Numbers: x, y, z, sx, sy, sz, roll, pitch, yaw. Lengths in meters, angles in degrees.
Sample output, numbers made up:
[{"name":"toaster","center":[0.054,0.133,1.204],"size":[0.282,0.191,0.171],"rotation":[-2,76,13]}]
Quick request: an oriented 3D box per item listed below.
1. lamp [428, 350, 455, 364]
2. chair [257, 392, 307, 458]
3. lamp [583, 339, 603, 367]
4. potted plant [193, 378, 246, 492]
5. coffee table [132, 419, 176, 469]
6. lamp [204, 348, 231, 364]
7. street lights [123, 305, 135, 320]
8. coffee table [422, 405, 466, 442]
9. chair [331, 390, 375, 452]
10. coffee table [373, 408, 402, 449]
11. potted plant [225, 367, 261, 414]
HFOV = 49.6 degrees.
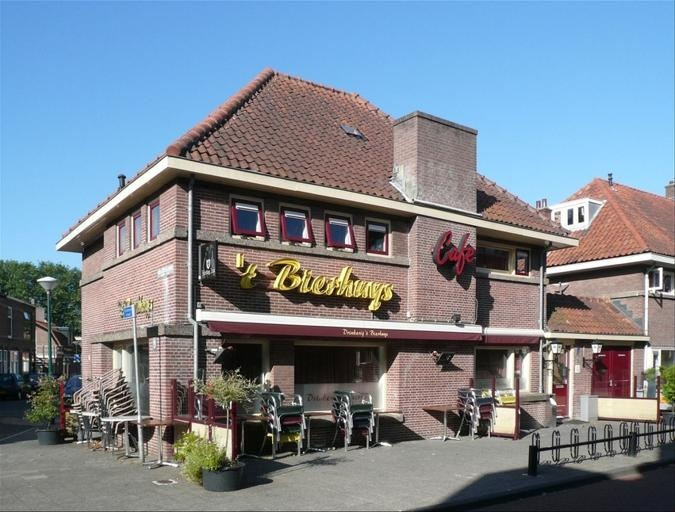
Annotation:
[{"name":"lamp","center":[3.537,3.398,24.227],"size":[1.030,0.482,0.324],"rotation":[12,-17,-40]},{"name":"chair","center":[-1.566,4.676,20.582],"size":[1.798,2.053,1.667],"rotation":[1,-3,-11]},{"name":"lamp","center":[10.713,4.091,30.187],"size":[0.763,1.010,1.392],"rotation":[-11,-17,40]},{"name":"potted plant","center":[-2.814,4.259,17.869],"size":[1.174,2.702,2.497],"rotation":[2,-13,-7]},{"name":"coffee table","center":[-4.753,5.006,19.610],"size":[1.514,1.265,1.416],"rotation":[3,-10,-23]},{"name":"lamp","center":[-3.259,2.775,20.222],"size":[0.635,0.400,0.435],"rotation":[-9,-16,35]},{"name":"street lights","center":[-5.473,1.487,19.135],"size":[0.083,0.363,0.584],"rotation":[-9,-4,-38]},{"name":"coffee table","center":[3.451,5.486,23.873],"size":[1.285,1.085,1.228],"rotation":[8,-11,-36]},{"name":"chair","center":[0.492,4.893,21.781],"size":[1.324,1.704,1.695],"rotation":[0,-13,2]},{"name":"coffee table","center":[1.543,5.326,22.718],"size":[1.099,0.887,1.027],"rotation":[0,-1,-22]},{"name":"potted plant","center":[-2.434,3.809,20.476],"size":[1.134,1.175,1.242],"rotation":[-1,9,-19]}]
